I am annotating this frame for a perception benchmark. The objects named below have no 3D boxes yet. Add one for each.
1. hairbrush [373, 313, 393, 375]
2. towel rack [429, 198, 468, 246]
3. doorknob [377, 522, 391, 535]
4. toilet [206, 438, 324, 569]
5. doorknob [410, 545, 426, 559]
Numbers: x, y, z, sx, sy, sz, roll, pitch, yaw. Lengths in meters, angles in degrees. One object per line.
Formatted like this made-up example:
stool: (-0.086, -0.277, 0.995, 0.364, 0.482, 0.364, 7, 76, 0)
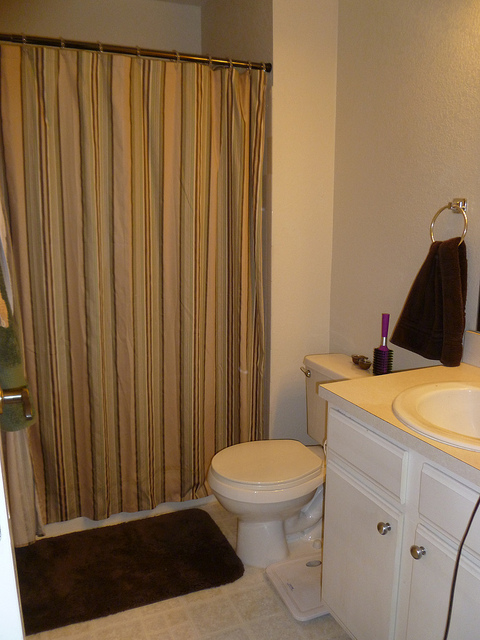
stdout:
hairbrush: (0.451, 0.075, 1.714, 0.059, 0.189, 0.277, 2, 11, 14)
towel rack: (0.613, -0.298, 1.594, 0.103, 0.129, 0.125, 4, 11, 22)
doorknob: (0.326, 0.470, 1.224, 0.016, 0.040, 0.032, 1, 3, -23)
toilet: (0.131, 0.647, 2.013, 0.441, 0.430, 0.414, -8, 21, -13)
doorknob: (0.363, 0.475, 1.112, 0.020, 0.035, 0.031, -7, 24, -14)
